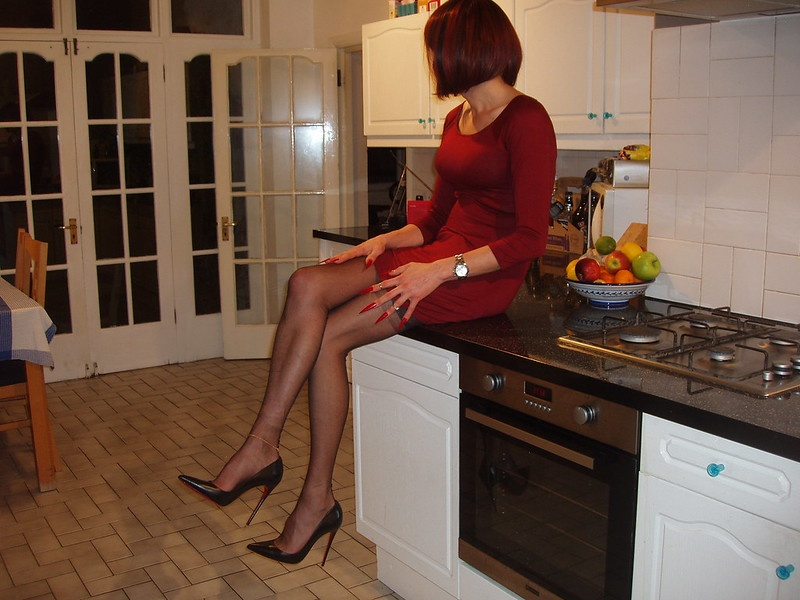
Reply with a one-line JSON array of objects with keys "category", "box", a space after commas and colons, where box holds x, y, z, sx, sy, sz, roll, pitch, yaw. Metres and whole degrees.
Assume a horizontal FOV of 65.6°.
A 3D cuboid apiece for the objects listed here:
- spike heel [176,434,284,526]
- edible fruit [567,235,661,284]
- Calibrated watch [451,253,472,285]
[{"category": "spike heel", "box": [-0.519, 0.547, 1.949, 0.292, 0.232, 0.111, 28, -34, -17]}, {"category": "edible fruit", "box": [0.746, -0.118, 2.190, 0.209, 0.102, 0.214, -6, 10, -8]}, {"category": "Calibrated watch", "box": [0.189, -0.097, 1.953, 0.046, 0.078, 0.069, -2, 10, 1]}]
